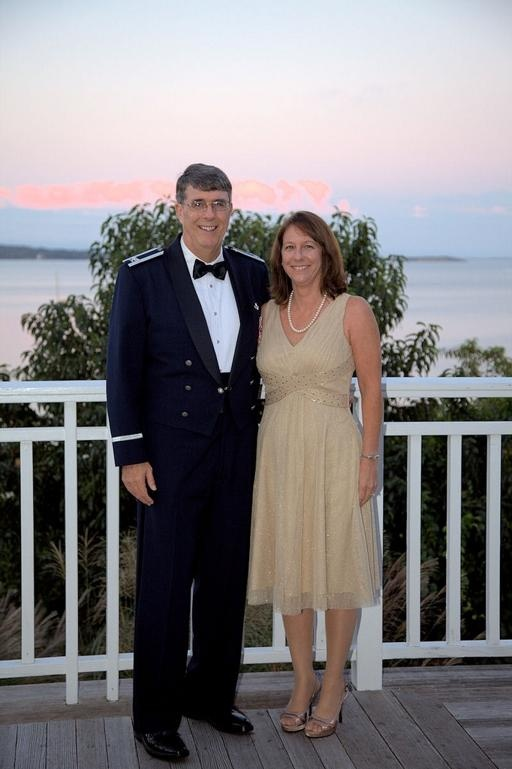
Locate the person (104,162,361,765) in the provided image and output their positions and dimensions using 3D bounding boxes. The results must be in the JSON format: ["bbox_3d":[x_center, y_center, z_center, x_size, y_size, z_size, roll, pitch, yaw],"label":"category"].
[{"bbox_3d":[-0.192,0.232,2.898,0.580,1.848,0.281,-6,9,-39],"label":"person"}]

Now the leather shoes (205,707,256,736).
[{"bbox_3d":[-0.079,1.114,2.976,0.171,0.069,0.065,-7,-6,26],"label":"leather shoes"}]

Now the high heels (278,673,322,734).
[{"bbox_3d":[0.142,1.086,3.032,0.073,0.062,0.225,-3,6,17],"label":"high heels"}]

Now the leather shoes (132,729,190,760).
[{"bbox_3d":[-0.284,1.128,2.826,0.065,0.059,0.165,5,-10,-44],"label":"leather shoes"}]

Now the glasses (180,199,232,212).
[{"bbox_3d":[-0.159,-0.555,2.797,0.165,0.049,0.083,-1,6,-5],"label":"glasses"}]
